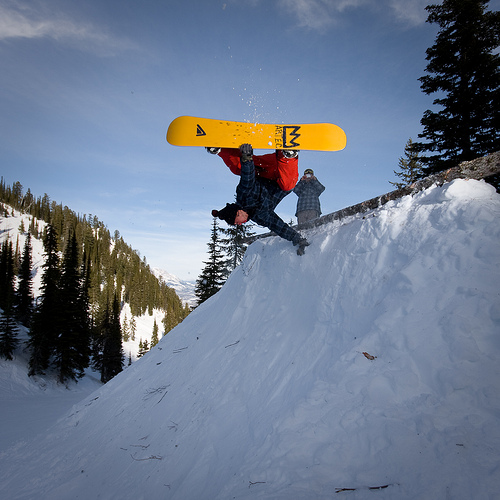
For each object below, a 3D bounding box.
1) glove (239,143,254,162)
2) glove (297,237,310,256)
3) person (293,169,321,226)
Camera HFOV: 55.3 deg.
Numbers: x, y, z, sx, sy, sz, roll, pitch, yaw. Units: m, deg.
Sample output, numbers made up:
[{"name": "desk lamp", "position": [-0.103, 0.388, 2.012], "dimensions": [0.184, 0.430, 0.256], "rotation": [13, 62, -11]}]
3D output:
[{"name": "glove", "position": [-0.068, -1.848, 8.908], "dimensions": [0.228, 0.307, 0.297], "rotation": [4, 1, 2]}, {"name": "glove", "position": [1.147, -0.116, 10.428], "dimensions": [0.191, 0.375, 0.092], "rotation": [3, -15, 31]}, {"name": "person", "position": [1.772, -1.362, 14.541], "dimensions": [0.804, 2.589, 0.738], "rotation": [-4, -26, 16]}]
